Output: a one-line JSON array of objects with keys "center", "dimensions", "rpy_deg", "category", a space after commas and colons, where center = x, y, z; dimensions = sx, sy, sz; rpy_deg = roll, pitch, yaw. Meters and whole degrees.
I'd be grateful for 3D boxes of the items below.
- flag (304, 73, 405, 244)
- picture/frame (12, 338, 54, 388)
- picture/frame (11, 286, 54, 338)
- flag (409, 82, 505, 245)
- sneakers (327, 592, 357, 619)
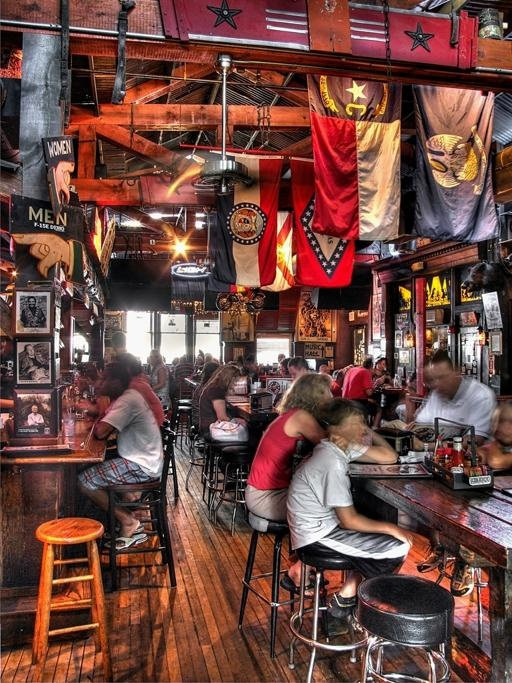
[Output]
[{"center": [0.771, -1.443, 4.404], "dimensions": [0.881, 1.219, 0.306], "rpy_deg": [0, -2, -18], "category": "flag"}, {"center": [-1.372, 0.128, 3.439], "dimensions": [0.304, 0.407, 0.040], "rpy_deg": [0, -3, -13], "category": "picture/frame"}, {"center": [-1.375, -0.182, 3.444], "dimensions": [0.322, 0.418, 0.042], "rpy_deg": [1, 1, -16], "category": "picture/frame"}, {"center": [1.635, -1.461, 4.618], "dimensions": [0.877, 1.220, 0.224], "rpy_deg": [0, -2, -19], "category": "flag"}, {"center": [0.443, 1.356, 2.864], "dimensions": [0.141, 0.147, 0.117], "rpy_deg": [-1, -2, 9], "category": "sneakers"}]
